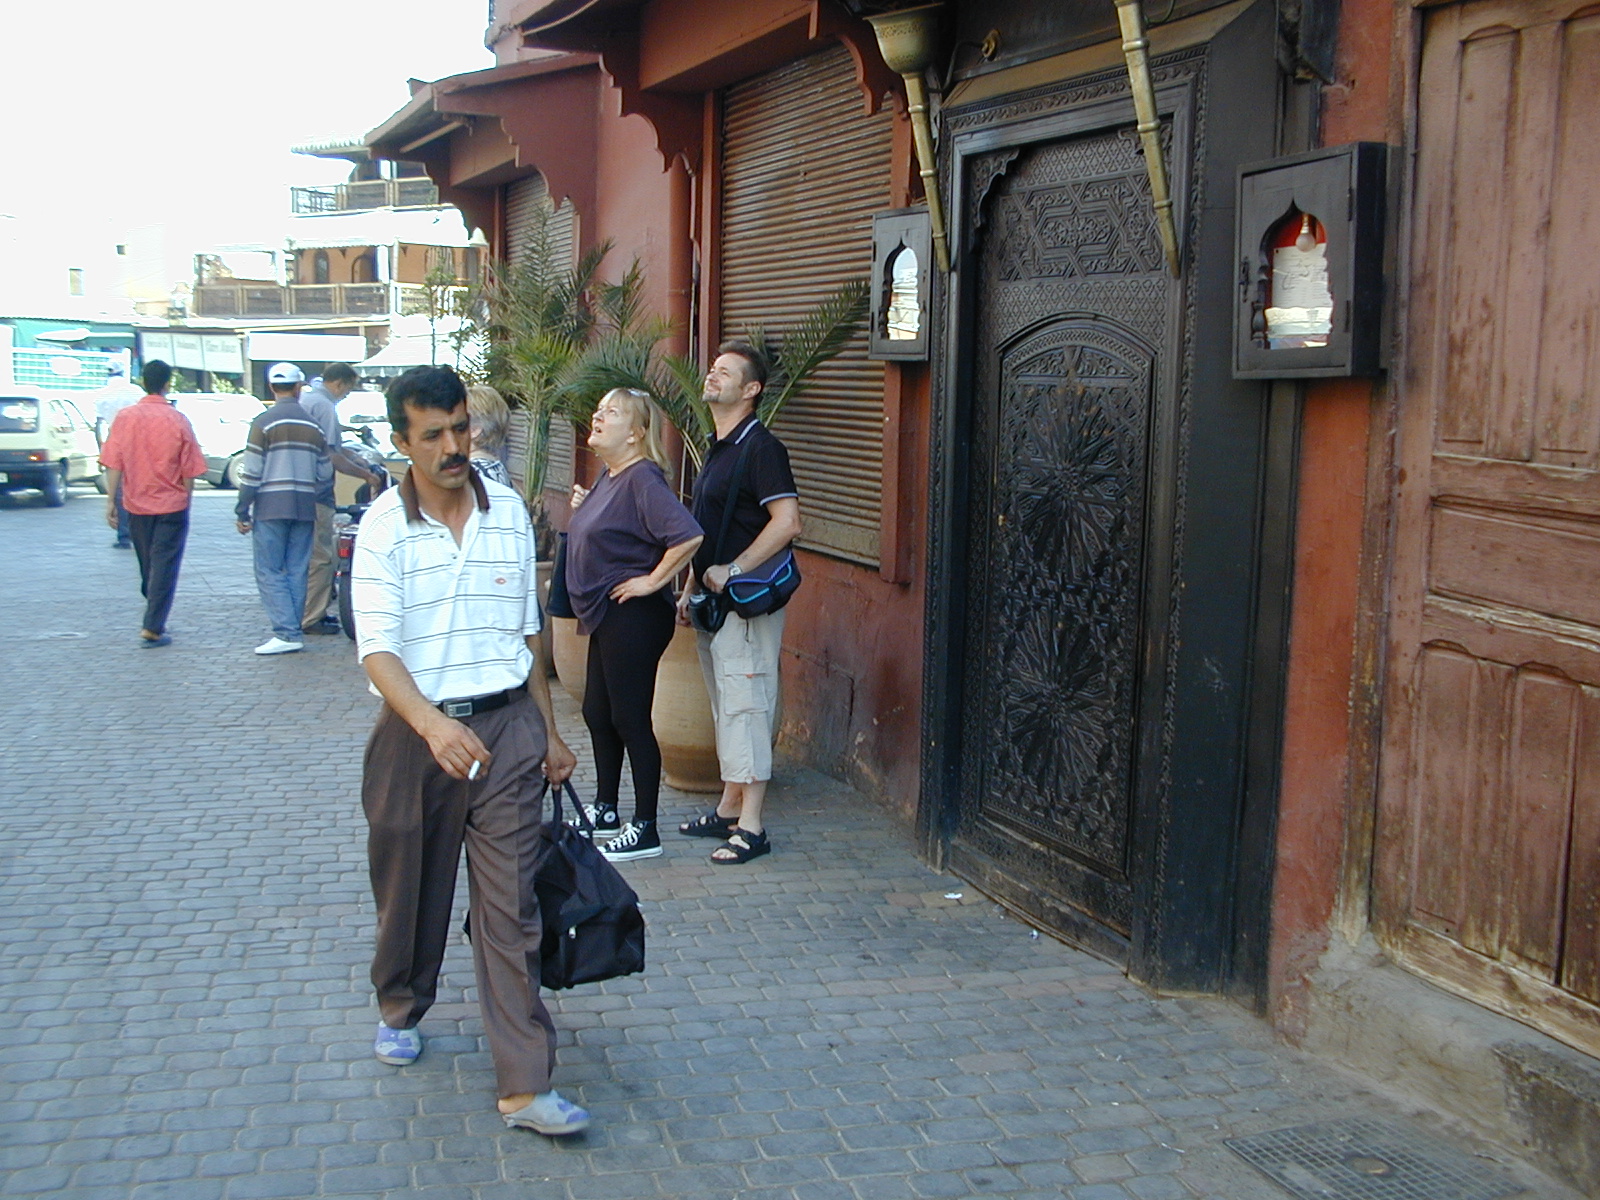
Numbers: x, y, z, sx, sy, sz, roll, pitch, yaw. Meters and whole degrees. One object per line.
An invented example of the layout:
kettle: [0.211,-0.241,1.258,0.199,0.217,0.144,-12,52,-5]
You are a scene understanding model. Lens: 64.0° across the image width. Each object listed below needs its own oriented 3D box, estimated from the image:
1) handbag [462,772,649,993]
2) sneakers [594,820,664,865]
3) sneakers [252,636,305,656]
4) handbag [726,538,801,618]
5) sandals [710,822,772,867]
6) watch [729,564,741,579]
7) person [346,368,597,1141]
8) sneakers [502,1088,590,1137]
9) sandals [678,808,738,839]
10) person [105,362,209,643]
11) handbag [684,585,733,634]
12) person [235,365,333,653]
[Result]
handbag: [-0.803,0.939,4.245,0.491,0.621,0.386,-9,-16,27]
sneakers: [-0.833,1.211,6.431,0.377,0.187,0.154,3,-1,-25]
sneakers: [-4.493,0.392,11.030,0.401,0.183,0.164,1,6,-12]
handbag: [-0.202,-0.119,6.293,0.339,0.236,0.129,-27,14,-34]
sandals: [-0.288,1.221,6.435,0.356,0.163,0.119,2,-2,-39]
watch: [-0.324,-0.137,6.220,0.055,0.058,0.100,0,8,-5]
person: [-1.093,0.439,4.073,0.673,2.333,0.708,0,8,-6]
sneakers: [-0.784,1.575,3.981,0.269,0.133,0.129,1,6,25]
sandals: [-0.461,1.167,6.700,0.341,0.147,0.134,3,6,-3]
person: [-5.908,-0.901,11.682,0.907,2.520,0.835,0,5,-26]
handbag: [-0.461,0.052,6.363,0.211,0.242,0.159,-1,12,-3]
person: [-4.545,-0.821,11.180,0.608,2.452,0.966,3,8,13]
